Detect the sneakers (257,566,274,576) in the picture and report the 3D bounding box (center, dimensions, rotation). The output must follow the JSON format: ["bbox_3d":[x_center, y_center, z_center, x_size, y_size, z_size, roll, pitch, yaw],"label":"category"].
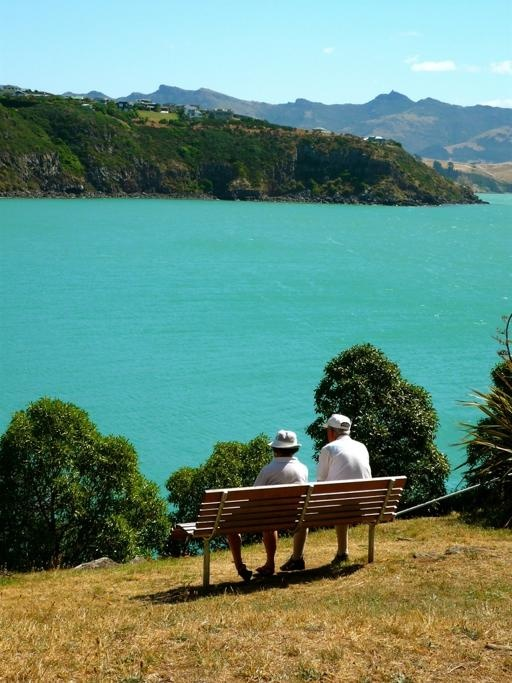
[{"bbox_3d":[0.106,2.522,13.388,0.207,0.095,0.083,4,5,25],"label":"sneakers"}]

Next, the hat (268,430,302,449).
[{"bbox_3d":[0.313,1.049,13.197,0.308,0.217,0.338,-4,3,-1],"label":"hat"}]

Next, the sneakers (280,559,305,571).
[{"bbox_3d":[0.411,2.482,13.547,0.244,0.112,0.124,3,-1,0],"label":"sneakers"}]

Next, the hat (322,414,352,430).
[{"bbox_3d":[0.912,0.877,13.427,0.224,0.133,0.166,2,-1,38],"label":"hat"}]
